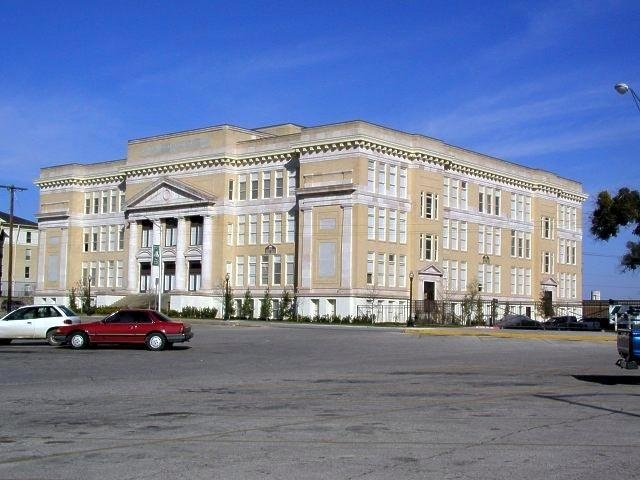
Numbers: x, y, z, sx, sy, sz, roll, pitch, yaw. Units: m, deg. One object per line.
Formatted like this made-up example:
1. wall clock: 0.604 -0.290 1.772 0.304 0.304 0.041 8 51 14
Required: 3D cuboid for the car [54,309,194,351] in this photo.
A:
1. car: -7.523 3.488 32.228 4.889 1.330 1.964 2 -5 7
